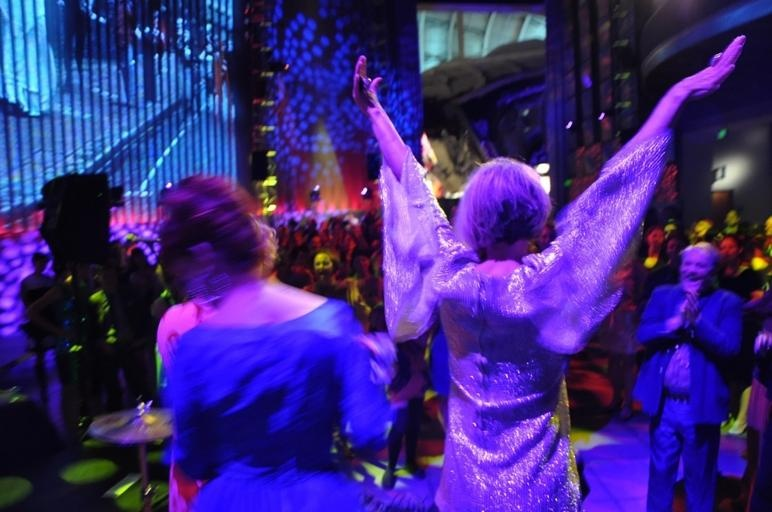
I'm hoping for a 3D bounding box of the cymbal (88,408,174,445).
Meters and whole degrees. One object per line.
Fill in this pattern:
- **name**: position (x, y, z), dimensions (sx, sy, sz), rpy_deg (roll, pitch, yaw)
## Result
- **cymbal**: position (-2.089, 1.431, 6.147), dimensions (0.574, 0.115, 0.576), rpy_deg (10, 12, 31)
